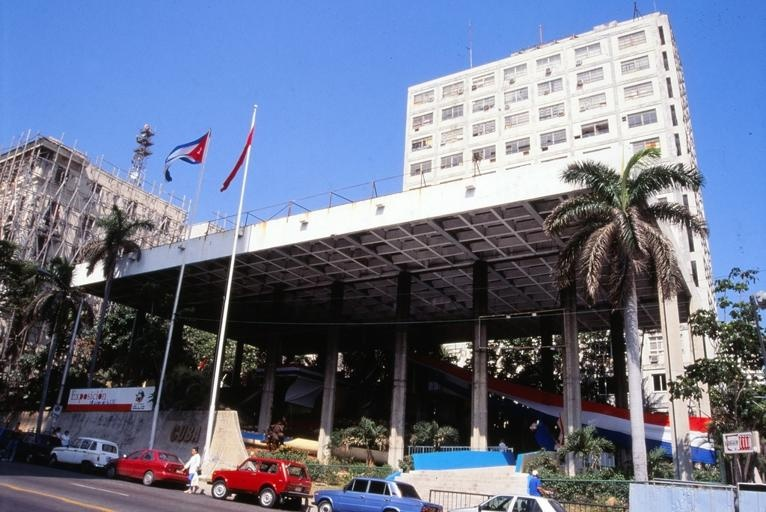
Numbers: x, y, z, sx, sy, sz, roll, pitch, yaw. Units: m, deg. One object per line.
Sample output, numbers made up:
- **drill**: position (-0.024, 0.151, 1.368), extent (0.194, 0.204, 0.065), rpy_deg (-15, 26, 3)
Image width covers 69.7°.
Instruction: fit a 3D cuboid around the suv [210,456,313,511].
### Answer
- **suv**: position (-6.467, 13.076, 31.978), extent (5.890, 2.568, 3.882), rpy_deg (-7, -23, 26)
